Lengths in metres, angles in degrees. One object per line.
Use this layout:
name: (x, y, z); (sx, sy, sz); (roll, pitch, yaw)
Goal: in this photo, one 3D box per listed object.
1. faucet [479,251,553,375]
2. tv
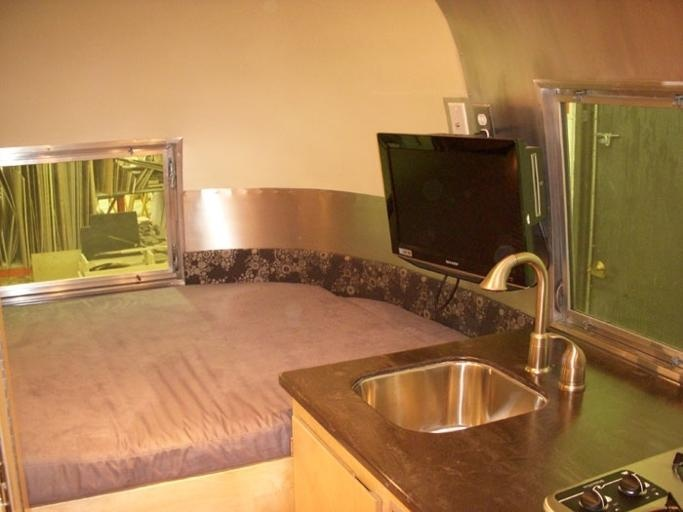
faucet: (0.487, 0.173, 1.451); (0.145, 0.384, 0.379); (1, 11, 24)
tv: (0.391, -0.184, 1.940); (0.174, 0.565, 0.675); (-12, 13, -38)
